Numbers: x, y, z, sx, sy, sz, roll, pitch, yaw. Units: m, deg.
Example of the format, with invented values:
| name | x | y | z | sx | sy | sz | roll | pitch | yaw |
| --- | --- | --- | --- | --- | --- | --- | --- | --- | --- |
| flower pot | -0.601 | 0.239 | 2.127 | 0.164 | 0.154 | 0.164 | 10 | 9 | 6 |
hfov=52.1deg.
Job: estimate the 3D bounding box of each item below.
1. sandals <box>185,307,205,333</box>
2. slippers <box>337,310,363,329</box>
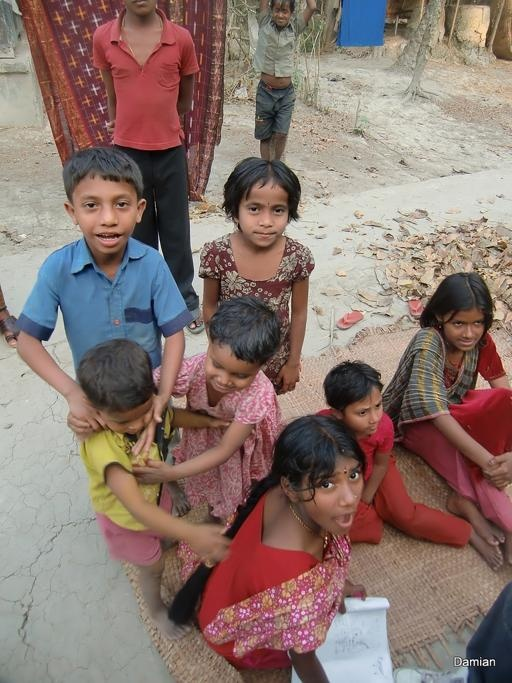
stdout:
| name | x | y | z | sx | sy | sz | roll | pitch | yaw |
| --- | --- | --- | --- | --- | --- | --- | --- | --- | --- |
| sandals | -0.345 | -0.117 | 2.950 | 0.074 | 0.121 | 0.212 | -5 | 29 | -6 |
| slippers | 0.638 | -0.158 | 3.583 | 0.180 | 0.047 | 0.103 | -35 | 48 | -30 |
